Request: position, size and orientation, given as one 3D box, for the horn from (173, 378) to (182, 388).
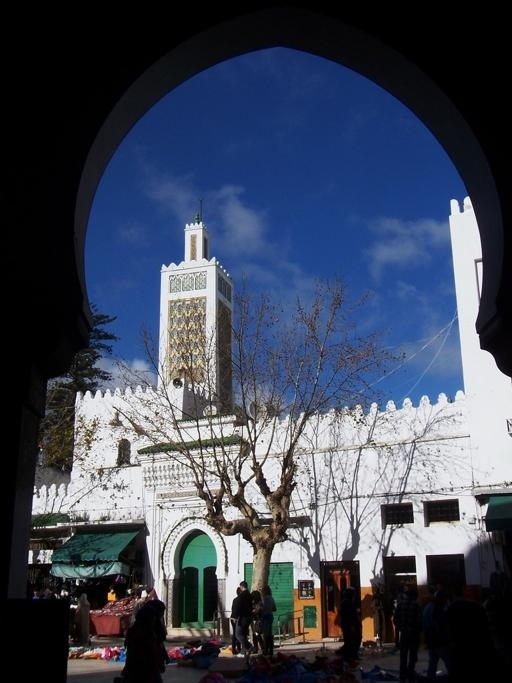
[{"bbox_3d":[-3.199,1.656,25.440,0.400,0.468,0.598,-1,-15,-9],"label":"horn"}]
